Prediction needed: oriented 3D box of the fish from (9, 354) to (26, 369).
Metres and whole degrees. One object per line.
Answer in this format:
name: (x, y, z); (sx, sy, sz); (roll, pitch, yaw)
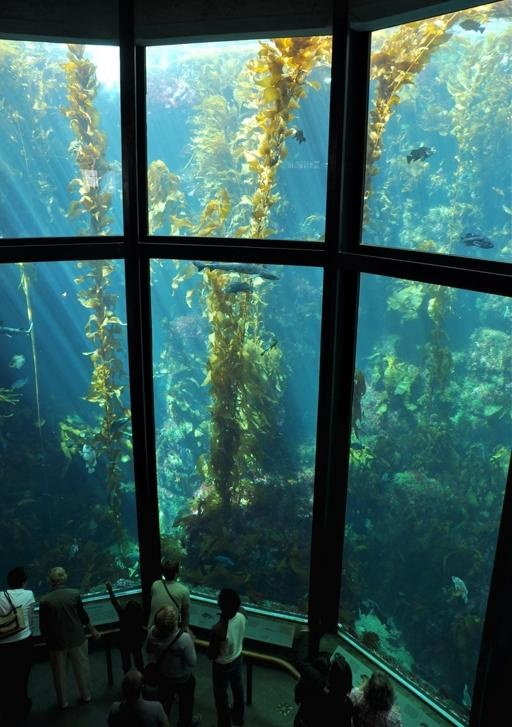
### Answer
fish: (-1.889, -0.020, 4.969); (0.080, 0.115, 0.028); (24, -16, -33)

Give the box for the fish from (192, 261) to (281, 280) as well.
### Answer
fish: (-0.155, -0.726, 4.891); (0.694, 0.134, 0.192); (5, 9, 25)

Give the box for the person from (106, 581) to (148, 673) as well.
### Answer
person: (-0.947, 1.950, 4.636); (0.259, 0.774, 0.187); (-1, 19, -3)

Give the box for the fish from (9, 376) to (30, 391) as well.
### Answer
fish: (-1.891, 0.157, 5.015); (0.024, 0.057, 0.167); (2, 21, 36)

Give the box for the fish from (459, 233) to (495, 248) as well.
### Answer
fish: (1.309, -0.746, 3.735); (0.054, 0.105, 0.243); (5, 15, -23)

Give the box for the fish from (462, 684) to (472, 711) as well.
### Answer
fish: (1.434, 2.268, 4.267); (0.016, 0.198, 0.065); (-7, 10, -43)

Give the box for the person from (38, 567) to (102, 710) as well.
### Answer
person: (-1.288, 1.880, 4.370); (0.350, 0.958, 0.257); (-6, 7, -18)

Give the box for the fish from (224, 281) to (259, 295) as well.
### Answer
fish: (-0.129, -0.616, 5.078); (0.300, 0.153, 0.093); (1, 21, 24)

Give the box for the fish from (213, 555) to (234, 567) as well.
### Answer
fish: (-0.293, 1.787, 5.685); (0.183, 0.106, 0.024); (3, 8, 17)

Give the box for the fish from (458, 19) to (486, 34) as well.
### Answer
fish: (1.257, -1.962, 3.627); (0.102, 0.030, 0.058); (41, -8, 19)

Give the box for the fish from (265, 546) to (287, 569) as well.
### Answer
fish: (0.186, 1.704, 5.482); (0.191, 0.188, 0.046); (9, 8, 32)

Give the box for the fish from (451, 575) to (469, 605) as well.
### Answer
fish: (1.371, 1.501, 4.201); (0.035, 0.086, 0.150); (12, 27, -29)

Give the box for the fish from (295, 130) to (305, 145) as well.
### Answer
fish: (0.313, -1.625, 4.460); (0.033, 0.093, 0.065); (-43, 60, -16)

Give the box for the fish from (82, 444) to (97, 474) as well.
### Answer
fish: (-1.451, 0.815, 5.458); (0.109, 0.248, 0.040); (-11, 22, -32)
